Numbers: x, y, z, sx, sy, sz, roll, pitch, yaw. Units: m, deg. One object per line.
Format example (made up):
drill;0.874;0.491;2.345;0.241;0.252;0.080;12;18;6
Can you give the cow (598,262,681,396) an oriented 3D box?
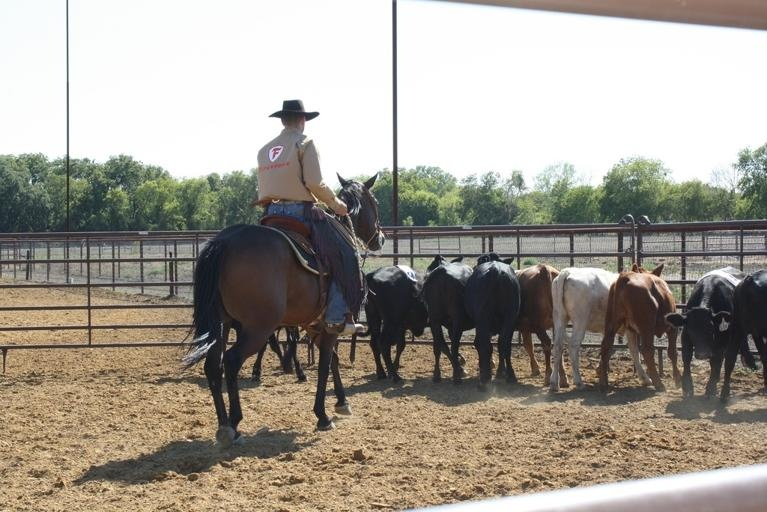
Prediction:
cow;5.155;1.282;20.922;1.037;2.402;3.319;-2;-3;32

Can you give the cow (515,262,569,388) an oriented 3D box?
cow;3.277;1.116;22.151;0.890;2.516;3.697;2;-15;14

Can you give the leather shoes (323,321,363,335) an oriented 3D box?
leather shoes;-0.643;1.204;18.162;0.489;0.167;0.277;6;-5;-14

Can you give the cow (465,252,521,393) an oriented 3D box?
cow;2.272;1.218;21.531;0.842;2.467;3.552;-2;1;9

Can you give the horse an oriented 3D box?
horse;-1.457;0.871;18.978;1.415;4.403;4.695;4;7;38

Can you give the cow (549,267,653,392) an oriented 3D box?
cow;4.408;1.269;20.920;2.959;2.286;0.871;-4;2;-37
